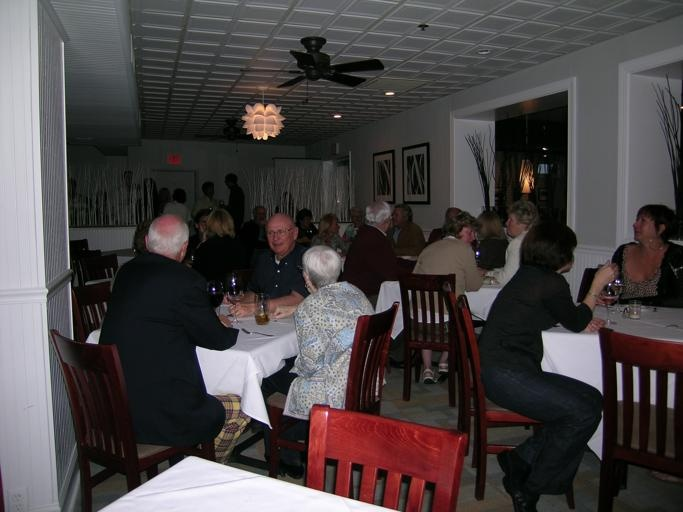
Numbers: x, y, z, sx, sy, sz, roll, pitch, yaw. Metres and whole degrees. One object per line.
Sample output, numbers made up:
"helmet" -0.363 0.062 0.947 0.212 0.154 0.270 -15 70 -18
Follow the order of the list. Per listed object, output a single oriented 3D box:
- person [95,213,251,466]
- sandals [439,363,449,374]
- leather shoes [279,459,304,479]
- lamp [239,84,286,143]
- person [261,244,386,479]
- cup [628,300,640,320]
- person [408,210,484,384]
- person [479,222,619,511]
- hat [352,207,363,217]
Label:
"person" -0.786 0.467 2.323 0.638 1.321 0.300 -7 7 -31
"sandals" 0.875 0.974 4.210 0.054 0.056 0.123 -3 -10 16
"leather shoes" -0.283 1.204 2.743 0.195 0.090 0.074 -1 0 13
"lamp" -0.931 -1.596 5.730 0.426 0.413 0.312 -5 6 -14
"person" -0.099 0.598 2.484 0.555 1.301 0.379 -1 6 21
"cup" 1.711 0.322 2.860 0.070 0.114 0.065 0 8 0
"person" 0.898 0.272 3.971 0.581 1.252 0.502 -10 25 -13
"person" 1.014 0.538 2.466 0.589 1.403 0.372 -3 6 4
"hat" 0.224 -0.621 6.888 0.114 0.151 0.150 -1 0 6
